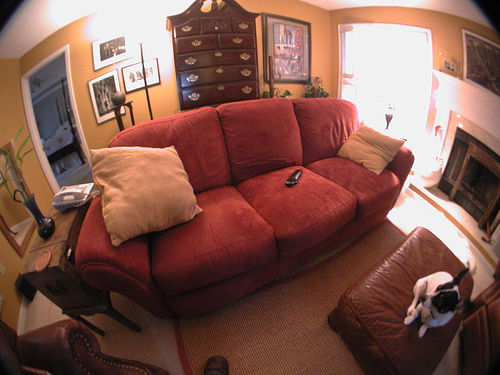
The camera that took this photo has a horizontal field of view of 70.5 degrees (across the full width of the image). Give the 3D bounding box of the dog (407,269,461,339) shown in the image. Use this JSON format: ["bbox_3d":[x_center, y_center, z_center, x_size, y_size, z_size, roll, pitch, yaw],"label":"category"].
[{"bbox_3d":[0.780,0.478,1.548,0.149,0.201,0.312,18,52,40],"label":"dog"}]

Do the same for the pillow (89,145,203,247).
[{"bbox_3d":[-0.533,0.016,1.860,0.493,0.430,0.413,-17,28,-25],"label":"pillow"}]

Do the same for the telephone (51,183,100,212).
[{"bbox_3d":[-0.925,0.042,1.861,0.156,0.072,0.152,-10,35,-9],"label":"telephone"}]

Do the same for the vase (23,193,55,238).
[{"bbox_3d":[-0.991,0.137,1.658,0.087,0.198,0.085,-23,47,-28],"label":"vase"}]

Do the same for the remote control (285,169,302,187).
[{"bbox_3d":[0.274,-0.066,2.181,0.054,0.032,0.153,14,32,18],"label":"remote control"}]

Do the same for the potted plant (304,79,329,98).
[{"bbox_3d":[0.505,-0.764,2.698,0.186,0.140,0.083,1,26,11],"label":"potted plant"}]
